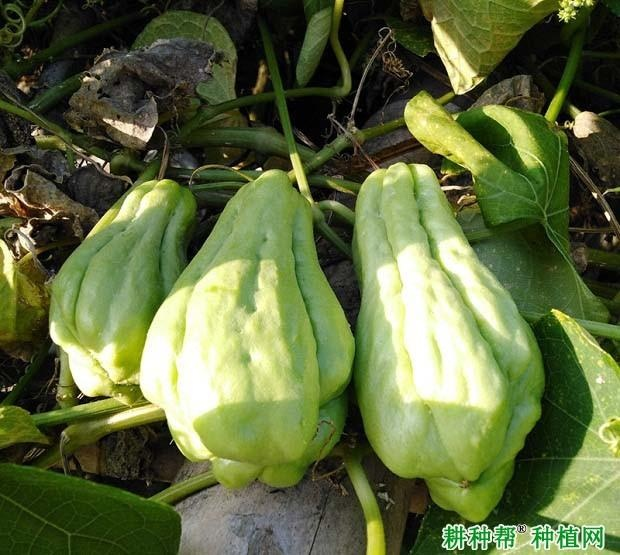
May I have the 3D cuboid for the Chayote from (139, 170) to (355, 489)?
[{"bbox_3d":[-0.048,0.071,0.893,0.249,0.169,0.380,-4,63,19],"label":"Chayote"}]

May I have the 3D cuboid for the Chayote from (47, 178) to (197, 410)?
[{"bbox_3d":[-0.256,-0.004,0.954,0.203,0.143,0.324,14,60,-8],"label":"Chayote"}]

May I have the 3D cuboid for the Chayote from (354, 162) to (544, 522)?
[{"bbox_3d":[0.178,0.056,0.940,0.269,0.236,0.474,-10,71,12],"label":"Chayote"}]
